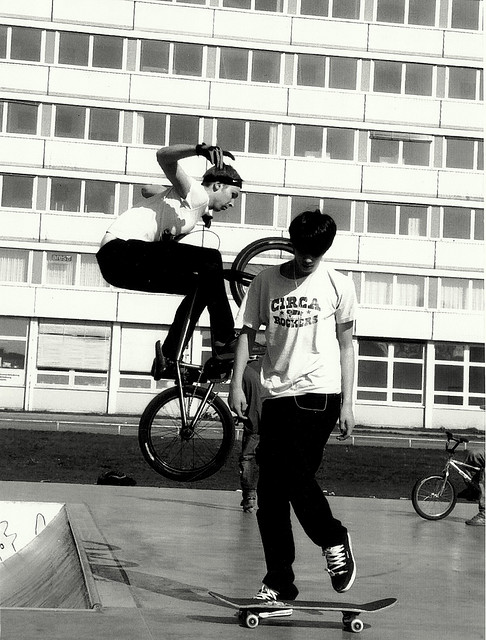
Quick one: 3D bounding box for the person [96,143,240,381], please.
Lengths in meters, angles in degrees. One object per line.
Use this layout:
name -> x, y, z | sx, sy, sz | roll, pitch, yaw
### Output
person -> -0.386, -0.447, 8.080 | 0.787, 1.687, 0.913 | 2, 29, -9

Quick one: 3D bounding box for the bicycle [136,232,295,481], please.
bicycle -> -0.178, 0.249, 8.396 | 0.827, 0.329, 1.909 | 4, 46, 5

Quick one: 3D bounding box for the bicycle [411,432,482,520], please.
bicycle -> 1.437, 1.194, 10.144 | 0.688, 0.615, 0.352 | 3, -3, -13

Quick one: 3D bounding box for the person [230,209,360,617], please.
person -> 0.239, 0.434, 6.453 | 0.615, 1.651, 0.352 | 4, 1, -1
